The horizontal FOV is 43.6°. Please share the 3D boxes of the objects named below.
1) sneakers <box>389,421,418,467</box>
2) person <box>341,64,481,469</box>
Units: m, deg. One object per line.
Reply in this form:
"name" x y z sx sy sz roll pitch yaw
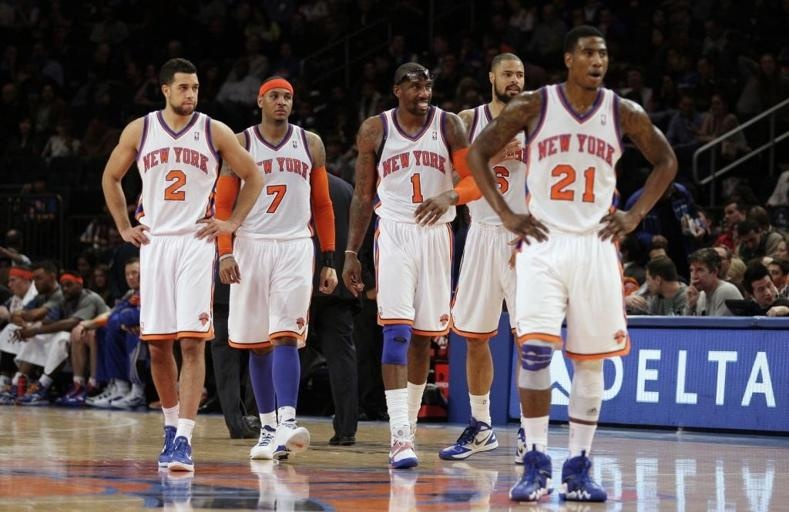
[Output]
"sneakers" 0.088 1.847 9.629 0.260 0.408 0.275 1 -10 -2
"person" 0.148 0.081 9.820 1.224 3.951 0.697 1 -10 -5
